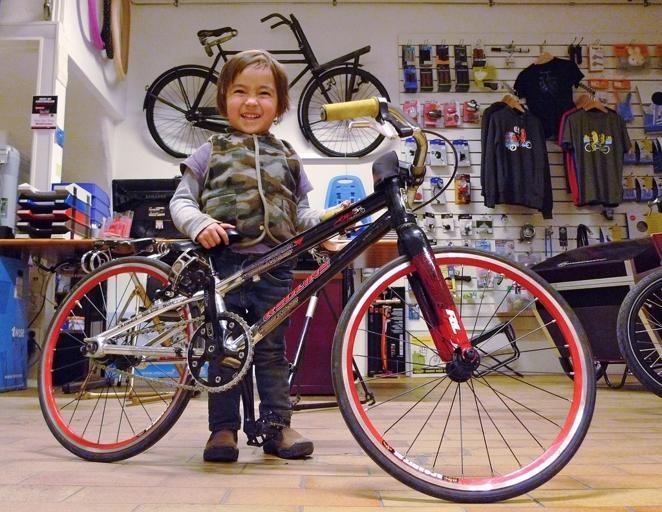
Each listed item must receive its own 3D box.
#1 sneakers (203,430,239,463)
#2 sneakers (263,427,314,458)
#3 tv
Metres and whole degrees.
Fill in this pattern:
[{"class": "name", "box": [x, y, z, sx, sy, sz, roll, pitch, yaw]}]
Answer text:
[{"class": "sneakers", "box": [-0.415, 0.705, 2.162, 0.127, 0.110, 0.097, 1, -4, -13]}, {"class": "sneakers", "box": [-0.170, 0.712, 2.224, 0.220, 0.096, 0.094, -12, -15, 42]}, {"class": "tv", "box": [-1.162, -0.297, 3.704, 0.454, 0.436, 0.237, -1, -3, -1]}]
